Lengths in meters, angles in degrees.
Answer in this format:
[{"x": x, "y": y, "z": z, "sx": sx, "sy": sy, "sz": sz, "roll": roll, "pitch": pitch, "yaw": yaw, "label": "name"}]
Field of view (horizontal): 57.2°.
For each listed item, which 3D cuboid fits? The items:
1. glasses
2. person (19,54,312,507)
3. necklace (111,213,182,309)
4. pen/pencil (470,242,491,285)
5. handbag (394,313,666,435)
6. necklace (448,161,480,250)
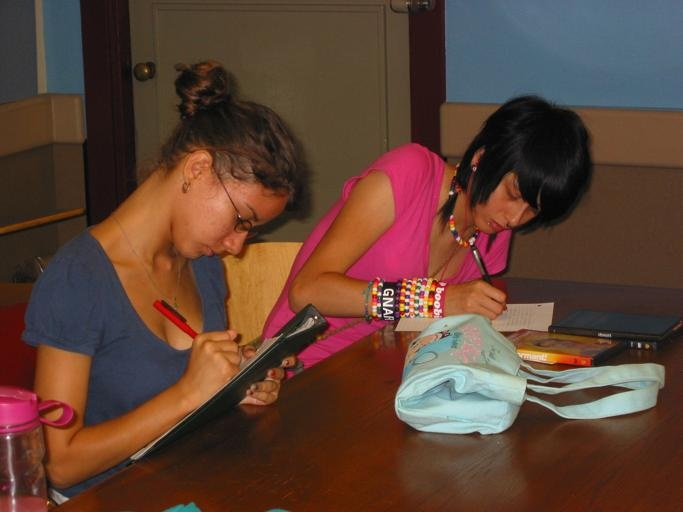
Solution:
[{"x": -0.222, "y": -0.111, "z": 1.320, "sx": 0.031, "sy": 0.112, "sz": 0.103, "roll": -23, "pitch": -9, "yaw": 4, "label": "glasses"}, {"x": -0.404, "y": 0.135, "z": 1.403, "sx": 0.483, "sy": 1.028, "sz": 0.562, "roll": 15, "pitch": 11, "yaw": 30, "label": "person"}, {"x": -0.440, "y": 0.026, "z": 1.393, "sx": 0.044, "sy": 0.194, "sz": 0.138, "roll": -21, "pitch": 8, "yaw": 35, "label": "necklace"}, {"x": 0.411, "y": 0.020, "z": 1.852, "sx": 0.018, "sy": 0.125, "sz": 0.018, "roll": -23, "pitch": -16, "yaw": 1, "label": "pen/pencil"}, {"x": 0.303, "y": 0.157, "z": 1.043, "sx": 0.343, "sy": 0.121, "sz": 0.230, "roll": -3, "pitch": 10, "yaw": 12, "label": "handbag"}, {"x": 0.348, "y": -0.143, "z": 1.783, "sx": 0.123, "sy": 0.217, "sz": 0.035, "roll": 7, "pitch": 22, "yaw": 28, "label": "necklace"}]
